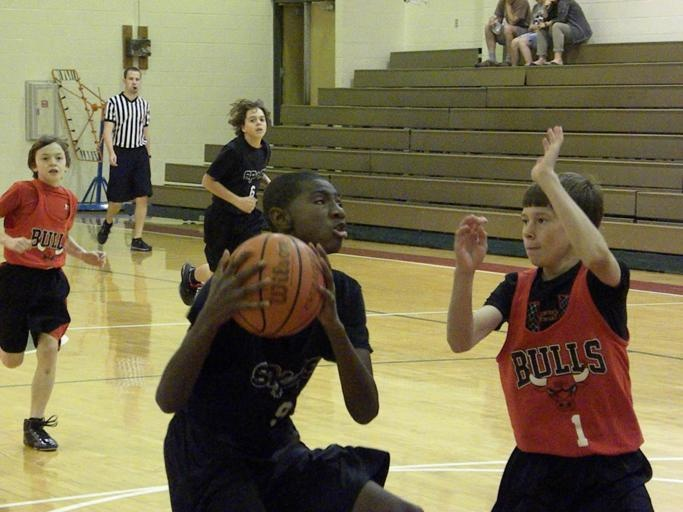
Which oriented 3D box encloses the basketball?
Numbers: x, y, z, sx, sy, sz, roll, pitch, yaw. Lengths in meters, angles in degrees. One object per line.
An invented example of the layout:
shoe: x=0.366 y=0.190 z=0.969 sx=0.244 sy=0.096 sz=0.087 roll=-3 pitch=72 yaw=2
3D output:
basketball: x=-0.109 y=0.059 z=1.285 sx=0.211 sy=0.250 sz=0.215 roll=0 pitch=1 yaw=4

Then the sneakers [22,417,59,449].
sneakers: x=-1.552 y=0.924 z=3.025 sx=0.224 sy=0.148 sz=0.107 roll=10 pitch=11 yaw=43

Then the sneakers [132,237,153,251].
sneakers: x=-2.929 y=-0.161 z=8.579 sx=0.314 sy=0.178 sz=0.146 roll=2 pitch=7 yaw=-1

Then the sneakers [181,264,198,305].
sneakers: x=-1.314 y=0.252 z=5.050 sx=0.159 sy=0.386 sz=0.142 roll=5 pitch=7 yaw=27
